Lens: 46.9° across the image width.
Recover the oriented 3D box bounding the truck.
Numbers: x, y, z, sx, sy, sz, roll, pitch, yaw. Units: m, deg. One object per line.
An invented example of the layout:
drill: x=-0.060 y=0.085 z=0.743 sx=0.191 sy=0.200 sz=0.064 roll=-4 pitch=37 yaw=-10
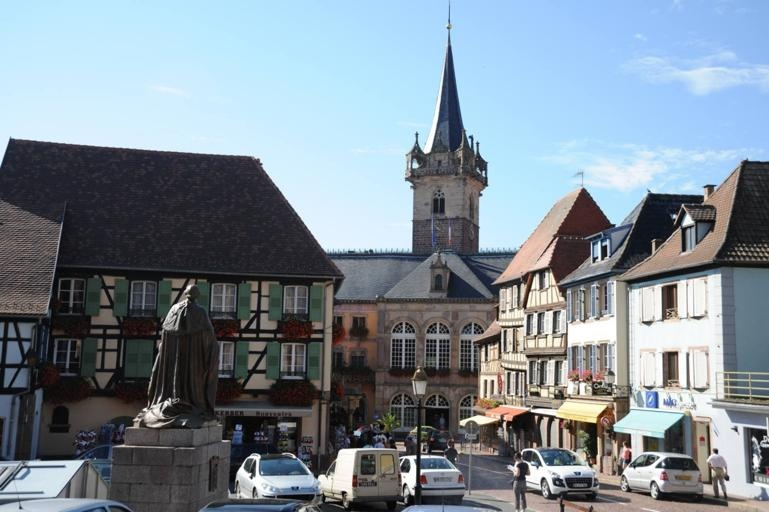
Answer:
truck: x=-1.089 y=8.682 z=35.326 sx=2.069 sy=1.643 sz=3.439 roll=5 pitch=-9 yaw=-23

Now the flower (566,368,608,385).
flower: x=10.952 y=6.408 z=47.433 sx=1.373 sy=0.455 sz=0.908 roll=1 pitch=-3 yaw=28

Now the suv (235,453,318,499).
suv: x=-4.211 y=8.222 z=33.109 sx=1.896 sy=1.290 sz=3.052 roll=7 pitch=-16 yaw=-26

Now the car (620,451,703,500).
car: x=11.662 y=9.202 z=37.522 sx=1.476 sy=1.857 sz=2.974 roll=6 pitch=-12 yaw=-27
